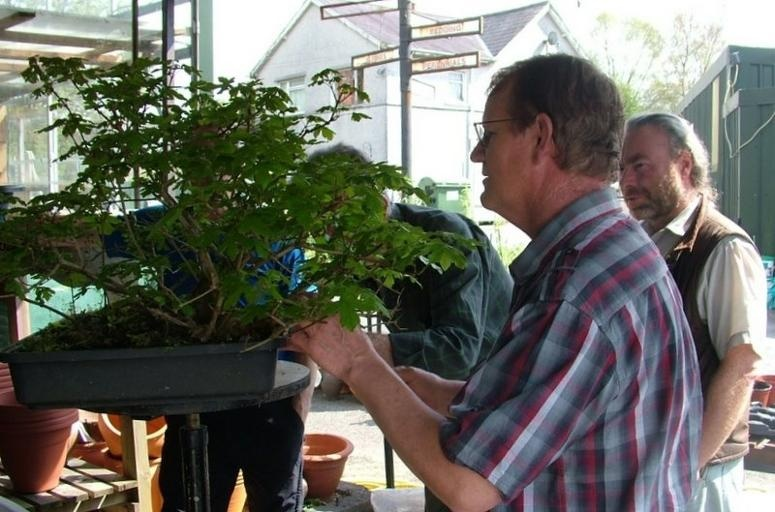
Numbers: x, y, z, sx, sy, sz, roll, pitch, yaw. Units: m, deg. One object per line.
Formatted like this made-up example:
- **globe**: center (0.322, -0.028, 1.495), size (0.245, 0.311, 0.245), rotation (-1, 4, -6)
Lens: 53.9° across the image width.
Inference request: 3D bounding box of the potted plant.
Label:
- **potted plant**: center (-0.607, -0.213, 3.198), size (1.588, 1.180, 1.646), rotation (-7, 10, -37)
